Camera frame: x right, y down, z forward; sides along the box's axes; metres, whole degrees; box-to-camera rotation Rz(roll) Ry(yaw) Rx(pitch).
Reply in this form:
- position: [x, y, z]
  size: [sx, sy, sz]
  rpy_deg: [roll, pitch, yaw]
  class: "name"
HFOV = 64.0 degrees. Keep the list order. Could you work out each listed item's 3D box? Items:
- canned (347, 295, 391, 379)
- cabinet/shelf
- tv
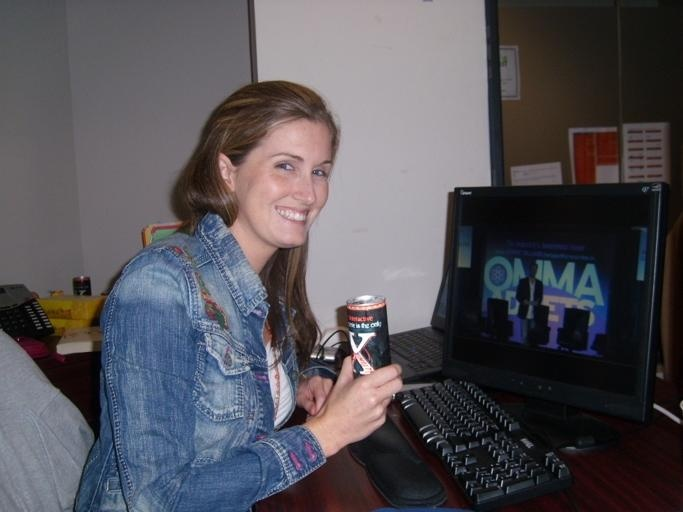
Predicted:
- position: [0.062, 0.184, 1.225]
  size: [0.094, 0.185, 0.053]
  rpy_deg: [-1, 8, 1]
  class: "canned"
- position: [-0.879, 0.433, 1.841]
  size: [0.227, 0.217, 0.224]
  rpy_deg: [24, -19, -21]
  class: "cabinet/shelf"
- position: [0.500, 0.133, 1.258]
  size: [0.505, 0.526, 0.064]
  rpy_deg: [9, 4, 39]
  class: "tv"
